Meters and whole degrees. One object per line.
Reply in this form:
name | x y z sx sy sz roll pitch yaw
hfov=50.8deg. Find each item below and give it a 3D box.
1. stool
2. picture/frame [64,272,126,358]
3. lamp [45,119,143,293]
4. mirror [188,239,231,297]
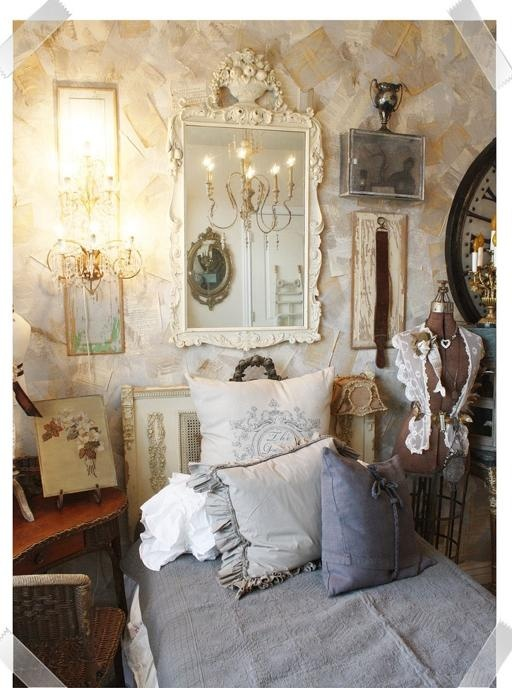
stool | 0.928 0.870 2.741 0.280 0.452 0.270 -12 -36 36
picture/frame | -0.653 -0.128 2.172 0.250 0.347 0.010 -2 4 7
lamp | -0.631 -0.496 2.082 0.355 0.598 0.163 -1 5 -13
mirror | -0.206 -0.330 2.282 0.237 0.326 0.017 -2 10 -11
